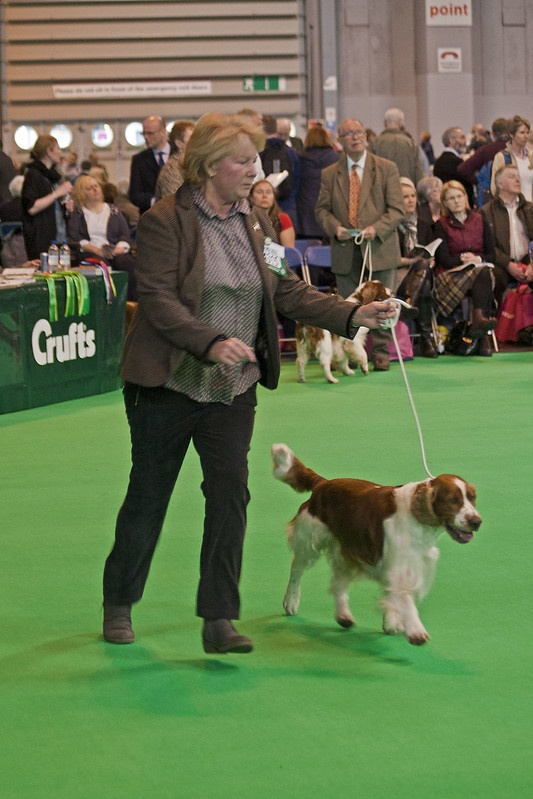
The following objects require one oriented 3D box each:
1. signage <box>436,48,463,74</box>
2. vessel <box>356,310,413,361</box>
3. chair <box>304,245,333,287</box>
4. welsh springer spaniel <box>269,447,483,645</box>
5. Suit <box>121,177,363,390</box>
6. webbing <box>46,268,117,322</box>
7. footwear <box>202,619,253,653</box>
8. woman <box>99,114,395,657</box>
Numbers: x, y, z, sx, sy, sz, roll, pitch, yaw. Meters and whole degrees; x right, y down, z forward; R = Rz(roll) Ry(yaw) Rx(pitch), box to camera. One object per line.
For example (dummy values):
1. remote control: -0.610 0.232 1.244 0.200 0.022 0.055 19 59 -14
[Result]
1. signage: 5.260 -9.729 19.290 0.735 0.679 0.728 1 7 10
2. vessel: 1.644 -0.785 9.087 0.555 0.625 0.646 -10 4 3
3. chair: 0.692 -1.891 9.380 0.463 0.670 0.522 -2 20 -4
4. welsh springer spaniel: 0.311 0.481 2.169 0.200 0.535 0.931 8 -6 -36
5. Suit: -0.131 -0.334 2.096 0.423 0.607 0.583 -2 -3 40
6. webbing: -2.082 -1.162 7.390 0.092 0.326 0.699 -6 12 23
7. footwear: -0.131 0.727 2.050 0.077 0.092 0.189 10 -18 -44
8. woman: -0.058 -0.027 2.005 1.037 1.645 0.702 1 3 0
